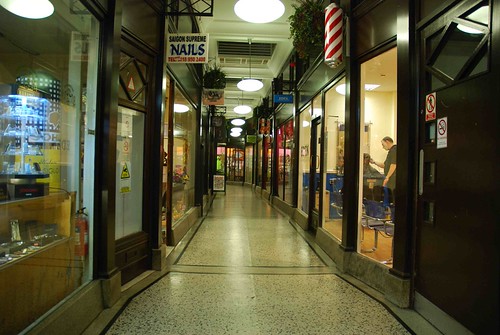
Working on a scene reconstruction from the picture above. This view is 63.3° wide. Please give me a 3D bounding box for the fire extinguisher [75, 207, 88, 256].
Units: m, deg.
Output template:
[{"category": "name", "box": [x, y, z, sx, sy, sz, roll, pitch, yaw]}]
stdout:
[{"category": "fire extinguisher", "box": [-1.813, 0.750, 4.340, 0.105, 0.487, 0.137, -3, -7, 8]}]
